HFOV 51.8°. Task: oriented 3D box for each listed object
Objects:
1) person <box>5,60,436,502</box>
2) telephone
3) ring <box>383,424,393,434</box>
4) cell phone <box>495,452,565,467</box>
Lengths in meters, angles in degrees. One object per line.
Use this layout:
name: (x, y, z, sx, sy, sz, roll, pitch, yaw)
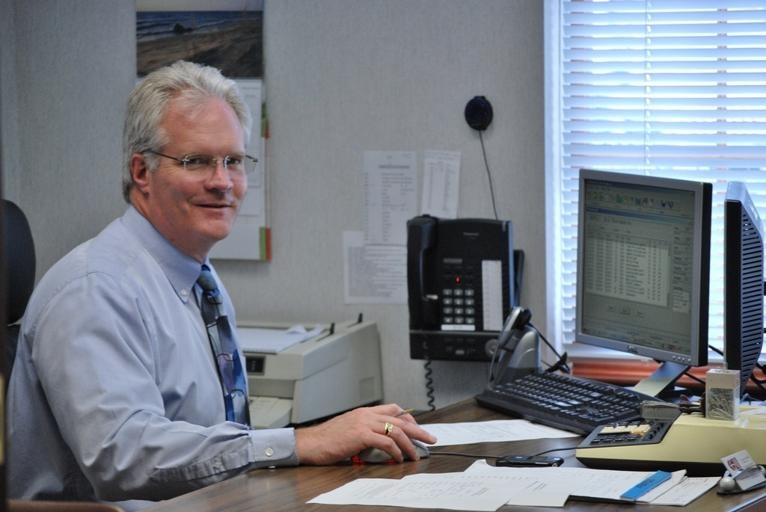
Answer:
person: (-0.514, 0.050, 2.445, 1.181, 1.267, 0.990, -2, -1, 16)
telephone: (0.301, 0.112, 2.821, 0.484, 0.498, 0.482, -5, 7, -21)
ring: (0.013, 0.419, 1.910, 0.023, 0.022, 0.006, 2, -8, -13)
cell phone: (0.345, 0.487, 1.882, 0.098, 0.014, 0.056, -2, 0, 8)
